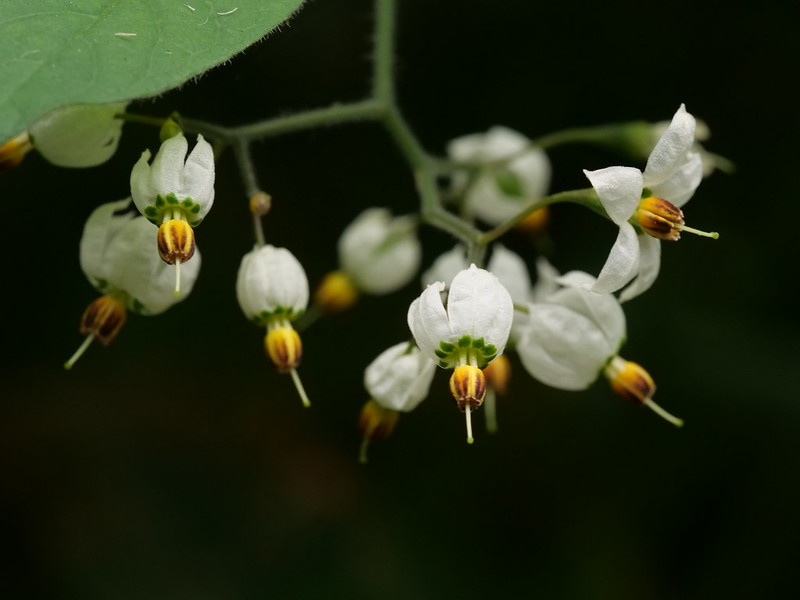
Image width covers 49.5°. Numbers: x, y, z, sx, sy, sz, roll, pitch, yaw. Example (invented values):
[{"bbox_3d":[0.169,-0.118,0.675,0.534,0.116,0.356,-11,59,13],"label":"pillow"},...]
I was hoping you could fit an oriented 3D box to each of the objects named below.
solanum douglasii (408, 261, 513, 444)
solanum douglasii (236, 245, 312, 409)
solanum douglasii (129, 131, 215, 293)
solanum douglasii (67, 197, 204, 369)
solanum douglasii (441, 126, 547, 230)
[{"bbox_3d":[0.111,0.106,1.793,0.204,0.342,0.253,15,16,22],"label":"solanum douglasii"},{"bbox_3d":[-0.266,0.032,1.915,0.155,0.331,0.118,-15,-17,-17],"label":"solanum douglasii"},{"bbox_3d":[-0.504,-0.200,1.882,0.188,0.487,0.210,5,-26,-20],"label":"solanum douglasii"},{"bbox_3d":[-0.668,-0.004,2.039,0.257,0.406,0.294,30,-20,-23],"label":"solanum douglasii"},{"bbox_3d":[0.283,-0.343,2.468,0.319,0.281,0.179,9,15,-3],"label":"solanum douglasii"}]
